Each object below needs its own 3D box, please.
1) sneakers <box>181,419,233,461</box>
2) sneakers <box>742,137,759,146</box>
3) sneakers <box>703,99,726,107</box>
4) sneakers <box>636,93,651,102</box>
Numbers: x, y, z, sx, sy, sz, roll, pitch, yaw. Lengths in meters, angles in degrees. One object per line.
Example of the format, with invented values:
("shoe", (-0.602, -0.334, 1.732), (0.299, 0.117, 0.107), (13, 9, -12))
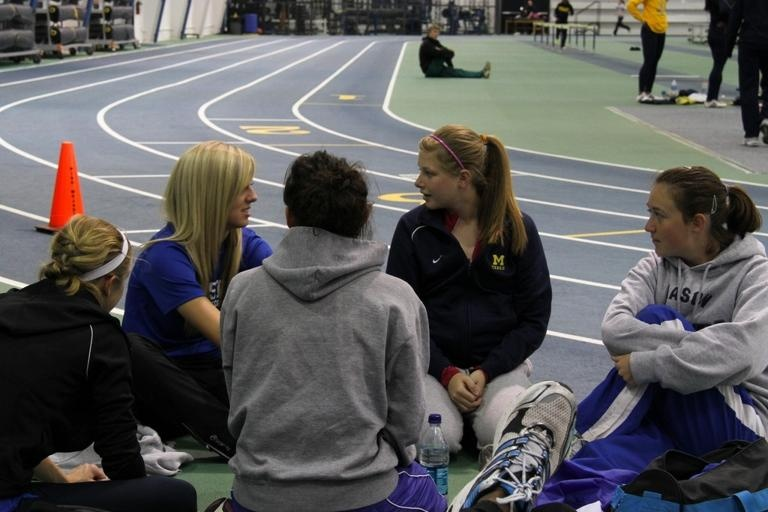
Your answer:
("sneakers", (-1.147, 1.225, 6.713), (0.345, 0.184, 0.254), (26, 17, 11))
("sneakers", (6.040, -1.917, 16.017), (0.240, 0.150, 0.170), (7, 14, 16))
("sneakers", (7.249, -3.377, 21.235), (0.541, 0.187, 0.178), (0, 11, -1))
("sneakers", (5.944, -3.659, 22.260), (0.143, 0.148, 0.386), (7, 11, 36))
